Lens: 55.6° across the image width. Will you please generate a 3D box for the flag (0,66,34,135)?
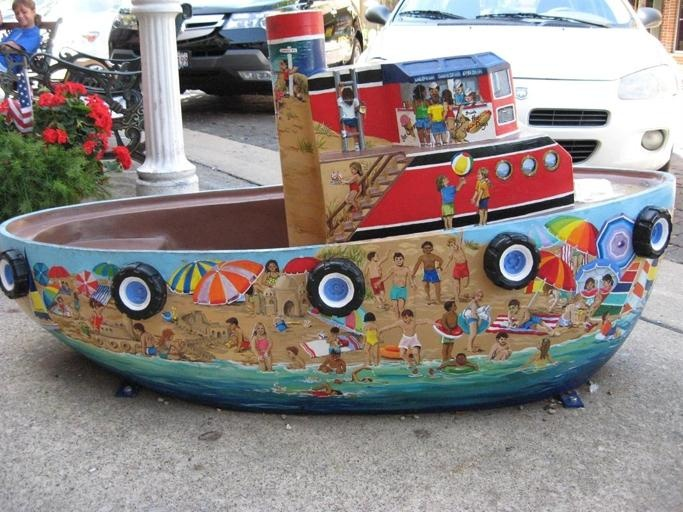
[{"bbox_3d":[-2.719,-1.326,5.438,0.205,0.535,0.317,-11,26,-24],"label":"flag"}]
